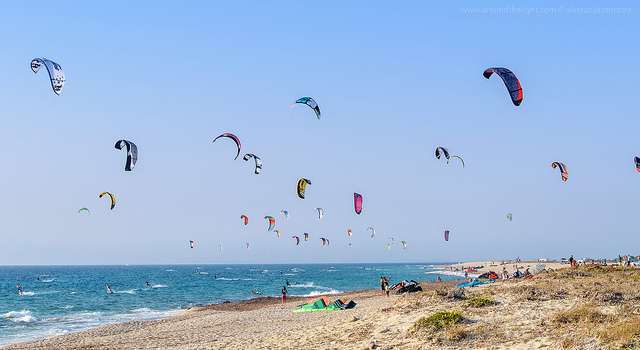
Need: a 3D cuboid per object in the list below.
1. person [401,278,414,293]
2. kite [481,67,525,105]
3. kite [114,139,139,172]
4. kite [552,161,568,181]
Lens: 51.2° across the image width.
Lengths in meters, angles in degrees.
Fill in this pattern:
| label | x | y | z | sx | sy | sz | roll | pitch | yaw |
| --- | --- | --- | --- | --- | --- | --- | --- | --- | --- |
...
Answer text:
| label | x | y | z | sx | sy | sz | roll | pitch | yaw |
| --- | --- | --- | --- | --- | --- | --- | --- | --- | --- |
| person | 8.269 | 10.409 | 62.101 | 0.921 | 1.058 | 2.473 | -2 | -6 | 7 |
| kite | 14.317 | -7.026 | 51.213 | 2.127 | 3.133 | 3.399 | -3 | -5 | 13 |
| kite | -15.640 | -1.622 | 54.601 | 1.321 | 2.793 | 4.134 | 0 | -6 | -18 |
| kite | 16.678 | -0.267 | 45.957 | 0.510 | 1.352 | 1.170 | -10 | 9 | -14 |
